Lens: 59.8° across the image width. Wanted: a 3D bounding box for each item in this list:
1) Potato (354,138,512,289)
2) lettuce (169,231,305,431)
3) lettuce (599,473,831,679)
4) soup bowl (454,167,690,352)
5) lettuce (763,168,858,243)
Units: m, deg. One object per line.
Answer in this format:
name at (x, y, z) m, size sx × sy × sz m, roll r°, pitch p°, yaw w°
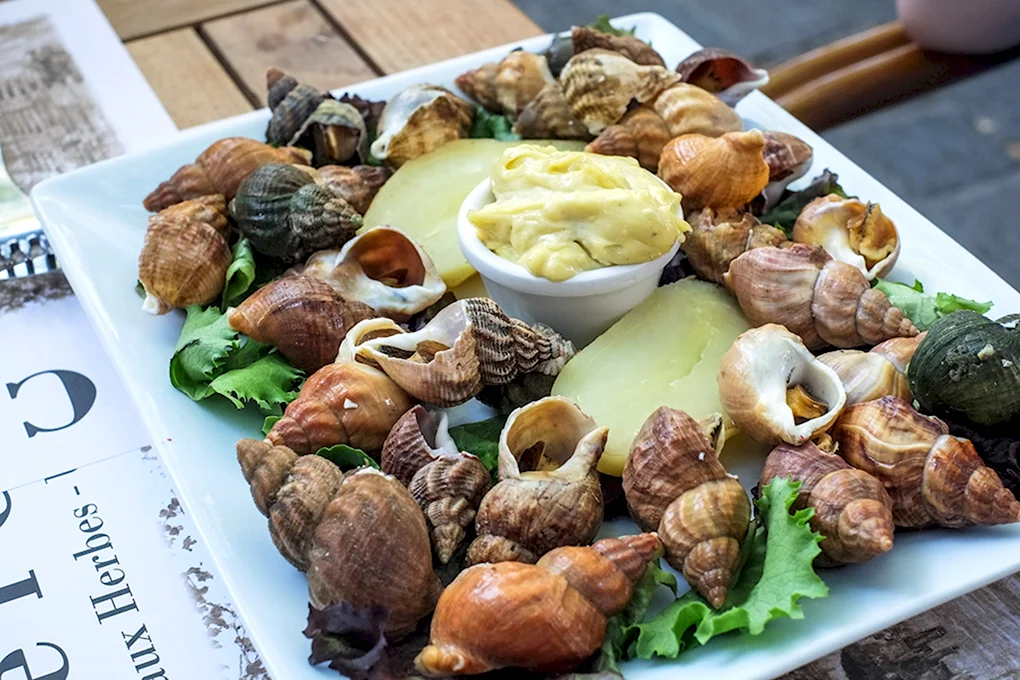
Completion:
Potato at (-0.176, -0.300, 2.114) m, size 0.374 × 0.076 × 0.256 m, roll -37°, pitch 79°, yaw -7°
lettuce at (-0.574, -0.016, 1.953) m, size 0.125 × 0.346 × 0.243 m, roll 34°, pitch 65°, yaw 5°
lettuce at (0.356, 0.414, 1.551) m, size 0.290 × 0.304 × 0.116 m, roll -35°, pitch 80°, yaw -16°
soup bowl at (0.083, -0.127, 1.755) m, size 0.316 × 0.204 × 0.327 m, roll -1°, pitch 58°, yaw 2°
lettuce at (0.674, -0.322, 2.006) m, size 0.153 × 0.089 × 0.197 m, roll 22°, pitch 59°, yaw 13°
